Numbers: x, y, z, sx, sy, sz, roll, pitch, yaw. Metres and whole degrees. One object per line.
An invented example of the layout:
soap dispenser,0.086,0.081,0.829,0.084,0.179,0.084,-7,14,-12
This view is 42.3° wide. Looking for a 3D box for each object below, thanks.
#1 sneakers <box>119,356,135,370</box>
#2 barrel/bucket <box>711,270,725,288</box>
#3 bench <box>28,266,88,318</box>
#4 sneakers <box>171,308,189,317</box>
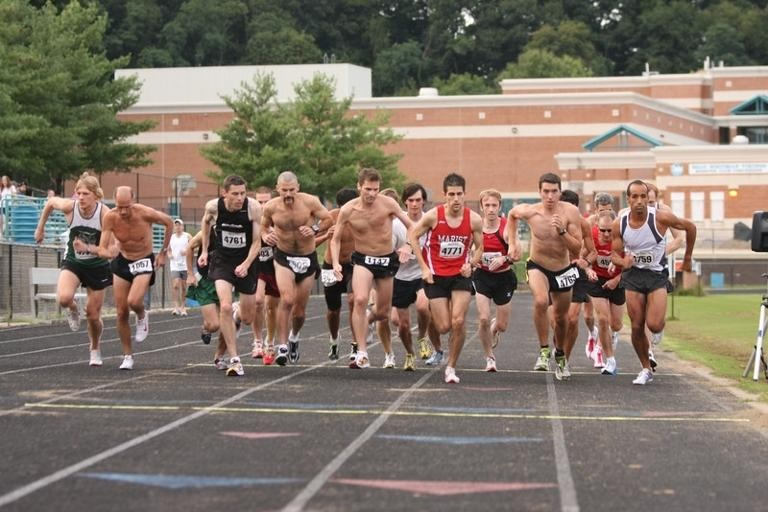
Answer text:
sneakers,-4.083,1.670,15.636,0.157,0.153,0.357,-1,1,-2
barrel/bucket,18.502,1.269,54.665,0.807,1.027,0.545,4,10,9
bench,-6.963,0.746,20.930,0.687,1.016,1.604,3,2,30
sneakers,-5.687,1.581,27.454,0.247,0.277,0.614,1,-9,8
